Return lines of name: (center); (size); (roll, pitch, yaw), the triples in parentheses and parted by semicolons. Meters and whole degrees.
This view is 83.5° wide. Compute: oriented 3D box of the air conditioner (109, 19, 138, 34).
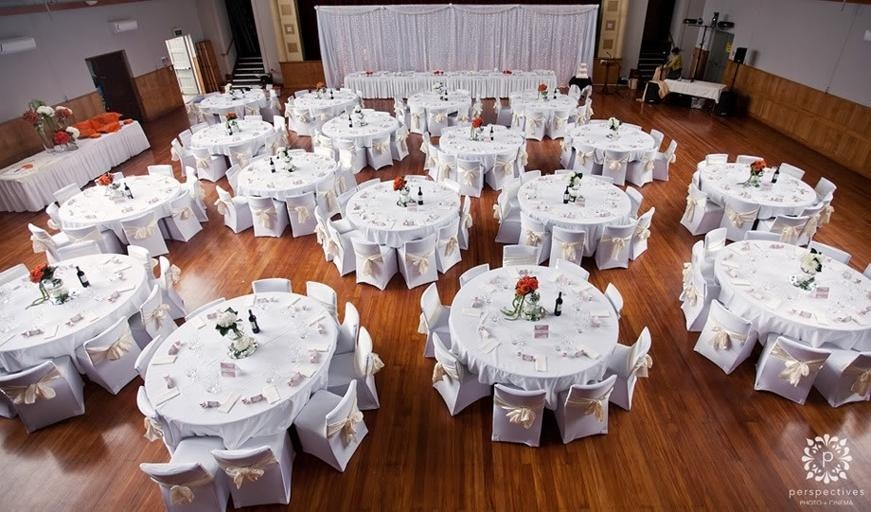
air conditioner: (-12.431, -9.265, 19.621); (0.418, 0.432, 1.377); (1, 30, 6)

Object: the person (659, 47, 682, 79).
person: (10.035, -8.193, 20.710); (1.112, 1.231, 0.535); (-22, 36, -30)

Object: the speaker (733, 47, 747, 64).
speaker: (12.049, -7.919, 19.322); (0.438, 0.623, 0.396); (-20, 35, -27)

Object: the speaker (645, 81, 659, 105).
speaker: (9.347, -7.030, 21.000); (0.602, 0.854, 0.597); (-5, 39, 2)
